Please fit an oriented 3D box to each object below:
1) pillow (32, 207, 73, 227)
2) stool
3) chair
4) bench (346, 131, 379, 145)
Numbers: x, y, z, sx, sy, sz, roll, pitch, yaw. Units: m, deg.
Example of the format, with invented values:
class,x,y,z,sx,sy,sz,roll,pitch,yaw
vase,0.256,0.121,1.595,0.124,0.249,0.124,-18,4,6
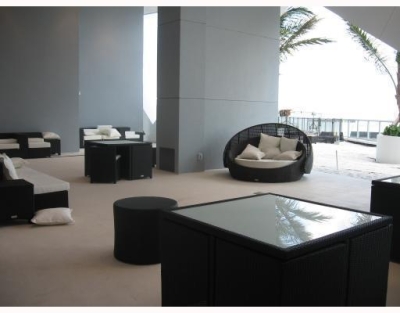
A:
class,x,y,z,sx,sy,sz,roll,pitch,yaw
pillow,-1.820,0.743,3.542,0.253,0.098,0.281,0,9,-15
stool,-0.532,0.665,2.790,0.607,0.640,0.693,3,2,0
chair,1.592,-0.016,6.637,1.567,1.017,1.600,2,6,26
bench,8.146,-0.916,14.385,0.491,0.718,1.823,0,5,-14
